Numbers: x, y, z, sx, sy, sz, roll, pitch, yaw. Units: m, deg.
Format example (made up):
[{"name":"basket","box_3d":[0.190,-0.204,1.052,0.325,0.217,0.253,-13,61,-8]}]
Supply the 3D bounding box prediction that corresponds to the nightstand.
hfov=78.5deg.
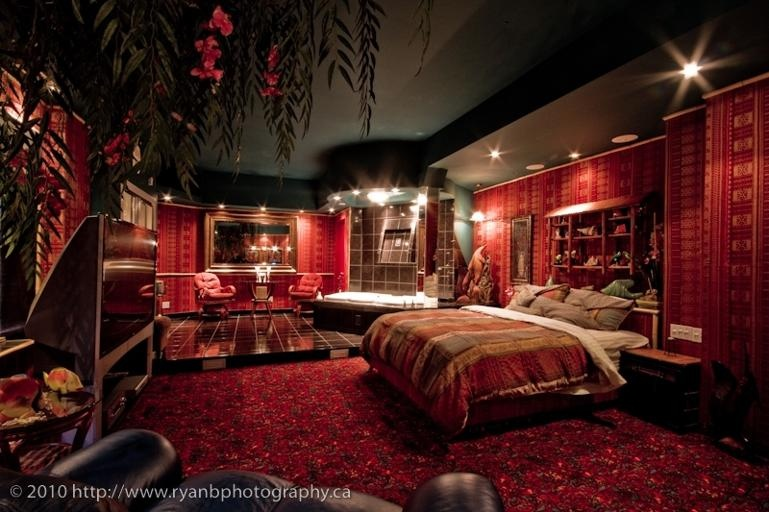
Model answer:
[{"name":"nightstand","box_3d":[2.752,1.236,4.927,0.626,0.852,0.885,1,0,-22]}]

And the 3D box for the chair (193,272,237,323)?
[{"name":"chair","box_3d":[-3.224,0.798,8.841,0.895,0.993,0.804,-1,-2,44]}]

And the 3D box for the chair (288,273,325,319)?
[{"name":"chair","box_3d":[-1.649,0.817,9.795,0.644,0.790,1.020,-1,11,-11]}]

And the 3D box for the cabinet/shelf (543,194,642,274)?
[{"name":"cabinet/shelf","box_3d":[2.696,-0.275,6.007,0.266,0.864,1.122,2,-2,-26]}]

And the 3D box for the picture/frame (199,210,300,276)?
[{"name":"picture/frame","box_3d":[-2.928,-0.267,9.904,1.437,0.949,0.058,0,0,-25]}]

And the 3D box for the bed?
[{"name":"bed","box_3d":[1.324,1.017,4.845,1.961,0.758,1.591,1,2,-21]}]
